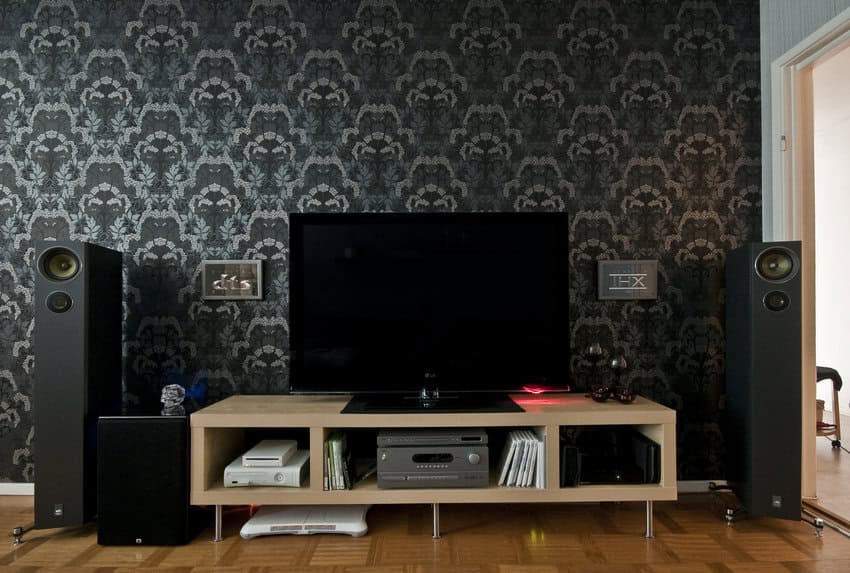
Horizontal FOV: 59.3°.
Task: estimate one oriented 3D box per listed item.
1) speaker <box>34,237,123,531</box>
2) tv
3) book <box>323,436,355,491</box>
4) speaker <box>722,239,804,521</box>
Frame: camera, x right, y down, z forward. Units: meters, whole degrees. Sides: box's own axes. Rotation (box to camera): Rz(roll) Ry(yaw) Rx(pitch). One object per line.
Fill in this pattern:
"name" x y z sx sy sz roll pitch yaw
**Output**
"speaker" -2.243 0.623 4.854 0.504 1.825 0.206 0 -3 -28
"tv" 0.062 0.182 5.025 1.323 0.908 0.394 0 -4 2
"book" -0.547 1.129 4.854 0.175 0.344 0.206 -2 -3 3
"speaker" 2.207 0.602 4.881 0.526 1.771 0.206 -3 -3 32
